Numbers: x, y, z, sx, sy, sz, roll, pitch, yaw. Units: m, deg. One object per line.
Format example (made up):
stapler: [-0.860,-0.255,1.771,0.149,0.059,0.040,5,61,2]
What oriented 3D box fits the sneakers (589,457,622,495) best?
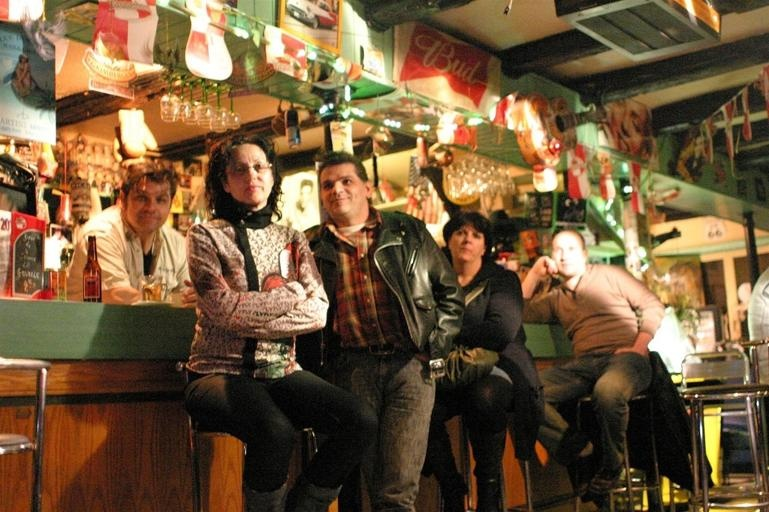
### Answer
sneakers: [1.527,1.503,4.790,0.120,0.144,0.339,2,8,36]

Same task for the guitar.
guitar: [1.638,-1.298,7.272,0.856,0.744,0.287,12,-15,-41]

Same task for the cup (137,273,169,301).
cup: [-1.349,0.185,4.096,0.151,0.164,0.146,-2,-6,0]

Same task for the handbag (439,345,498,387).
handbag: [0.515,0.655,4.192,0.263,0.215,0.107,-4,-48,11]
